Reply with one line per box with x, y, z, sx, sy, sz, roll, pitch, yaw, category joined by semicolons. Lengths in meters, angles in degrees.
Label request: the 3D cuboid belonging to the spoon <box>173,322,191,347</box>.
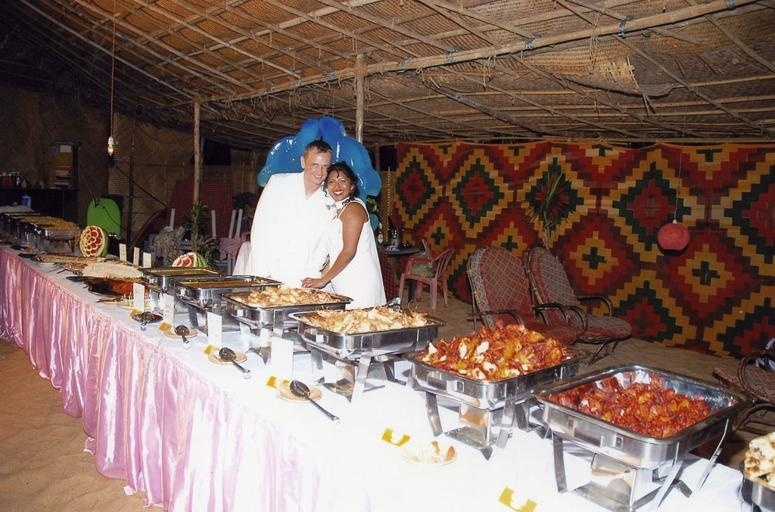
-1.225;0.465;3.249;0.078;0.031;0.159;-9;35;-21;spoon

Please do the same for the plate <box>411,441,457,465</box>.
0.202;0.838;2.324;0.189;0.068;0.081;3;1;-1;plate

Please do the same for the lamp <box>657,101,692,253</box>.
3.545;-0.677;6.594;0.346;1.212;0.722;5;2;27;lamp

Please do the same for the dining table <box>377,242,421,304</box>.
0.242;0.235;8.019;0.745;0.993;0.801;1;-2;-26;dining table

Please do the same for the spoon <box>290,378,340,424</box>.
-0.371;0.663;2.628;0.100;0.059;0.428;-5;21;-36;spoon

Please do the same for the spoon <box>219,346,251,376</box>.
-0.845;0.561;2.965;0.082;0.047;0.337;-3;16;-32;spoon

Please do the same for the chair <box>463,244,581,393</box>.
1.060;0.419;5.157;0.891;1.095;1.090;-5;9;-34;chair
